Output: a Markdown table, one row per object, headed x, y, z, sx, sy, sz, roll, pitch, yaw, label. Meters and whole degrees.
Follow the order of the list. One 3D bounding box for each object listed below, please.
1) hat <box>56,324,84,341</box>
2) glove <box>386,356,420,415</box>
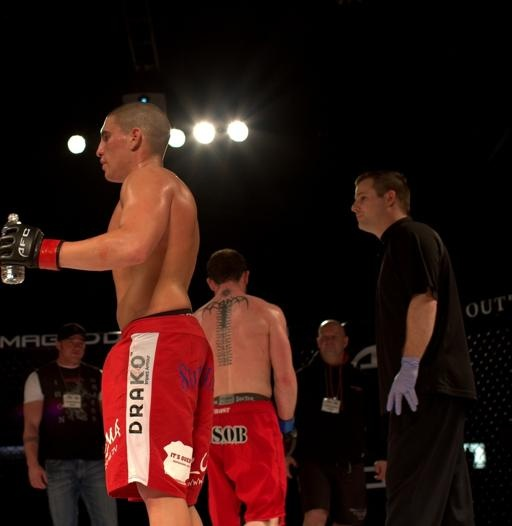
| x | y | z | sx | sy | sz | roll | pitch | yaw | label |
| --- | --- | --- | --- | --- | --- | --- | --- | --- | --- |
| -1.628 | 0.596 | 5.858 | 0.190 | 0.106 | 0.139 | -9 | 4 | -35 | hat |
| 0.720 | 0.603 | 3.276 | 0.093 | 0.282 | 0.198 | 3 | -7 | -41 | glove |
